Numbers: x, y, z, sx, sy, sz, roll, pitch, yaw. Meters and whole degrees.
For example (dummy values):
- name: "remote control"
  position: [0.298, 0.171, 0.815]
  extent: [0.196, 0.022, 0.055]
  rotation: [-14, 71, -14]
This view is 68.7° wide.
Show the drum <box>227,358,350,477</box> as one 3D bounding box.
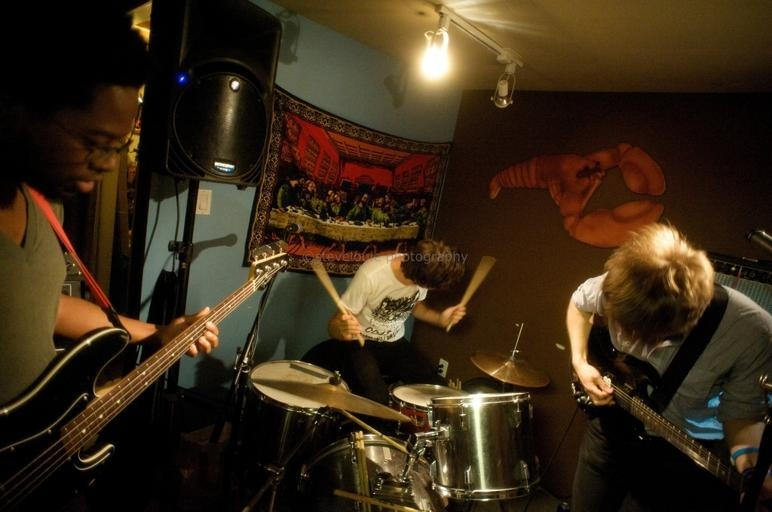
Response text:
- name: "drum"
  position: [-0.674, 1.092, 3.777]
  extent: [0.709, 0.729, 0.734]
  rotation: [19, 13, -7]

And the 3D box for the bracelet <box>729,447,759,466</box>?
- name: "bracelet"
  position: [1.874, 1.050, 2.960]
  extent: [0.104, 0.111, 0.063]
  rotation: [14, 5, 36]

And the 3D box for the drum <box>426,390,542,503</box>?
- name: "drum"
  position: [0.608, 1.208, 3.638]
  extent: [0.702, 0.608, 0.704]
  rotation: [-1, -10, -3]

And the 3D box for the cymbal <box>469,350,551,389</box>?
- name: "cymbal"
  position: [0.937, 0.802, 4.106]
  extent: [0.570, 0.131, 0.553]
  rotation: [8, 5, -24]
